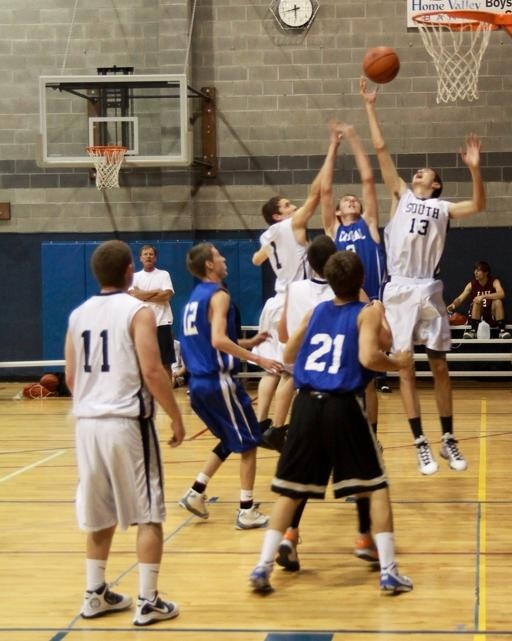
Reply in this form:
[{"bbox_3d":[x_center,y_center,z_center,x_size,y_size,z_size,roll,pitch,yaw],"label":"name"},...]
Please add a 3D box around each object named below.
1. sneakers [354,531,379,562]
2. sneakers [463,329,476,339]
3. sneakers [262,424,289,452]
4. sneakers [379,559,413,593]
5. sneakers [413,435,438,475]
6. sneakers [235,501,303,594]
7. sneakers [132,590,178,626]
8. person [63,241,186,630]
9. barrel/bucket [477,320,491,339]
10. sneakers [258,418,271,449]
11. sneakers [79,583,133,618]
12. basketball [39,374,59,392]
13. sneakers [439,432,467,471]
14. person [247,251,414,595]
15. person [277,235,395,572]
[{"bbox_3d":[0.528,1.088,5.020,0.063,0.129,0.180,-4,-9,27],"label":"sneakers"},{"bbox_3d":[2.192,0.137,10.826,0.064,0.090,0.187,-3,-9,28],"label":"sneakers"},{"bbox_3d":[0.111,0.644,5.794,0.078,0.106,0.239,7,-5,16],"label":"sneakers"},{"bbox_3d":[0.612,1.151,4.722,0.074,0.164,0.228,0,-3,35],"label":"sneakers"},{"bbox_3d":[0.962,0.787,6.101,0.085,0.118,0.271,-22,38,17],"label":"sneakers"},{"bbox_3d":[0.083,0.999,4.700,0.219,0.473,0.243,-1,5,1],"label":"sneakers"},{"bbox_3d":[-0.430,1.236,4.540,0.085,0.120,0.238,0,2,40],"label":"sneakers"},{"bbox_3d":[-0.552,0.476,4.468,0.483,1.620,0.286,-1,5,-8],"label":"person"},{"bbox_3d":[2.313,0.098,10.735,0.159,0.232,0.093,1,7,25],"label":"barrel/bucket"},{"bbox_3d":[0.049,0.641,5.989,0.051,0.165,0.112,-2,14,8],"label":"sneakers"},{"bbox_3d":[-0.648,1.211,4.618,0.092,0.125,0.261,1,2,41],"label":"sneakers"},{"bbox_3d":[-2.146,0.650,11.023,0.146,0.205,0.193,-5,26,-26],"label":"basketball"},{"bbox_3d":[1.159,0.780,6.305,0.095,0.133,0.286,-24,12,3],"label":"sneakers"},{"bbox_3d":[0.343,0.458,4.797,0.618,1.538,0.590,0,-4,12],"label":"person"},{"bbox_3d":[0.313,0.457,4.933,0.579,1.688,0.502,-8,24,-17],"label":"person"}]
